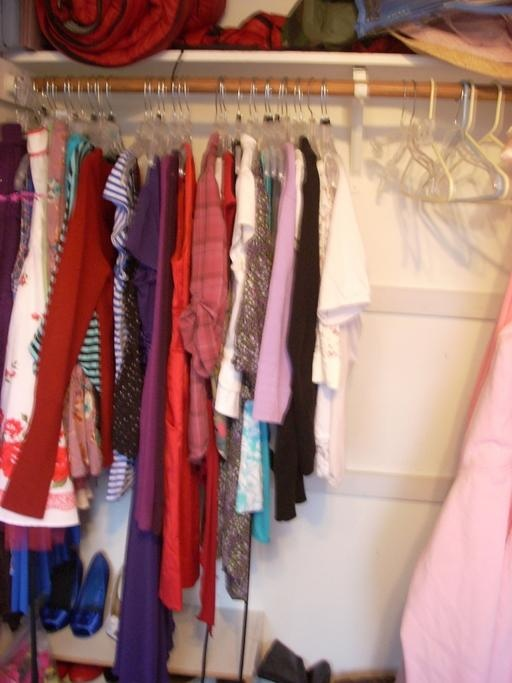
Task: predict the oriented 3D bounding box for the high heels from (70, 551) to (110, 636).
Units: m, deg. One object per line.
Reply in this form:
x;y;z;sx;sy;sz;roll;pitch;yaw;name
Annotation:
-0.427;0.666;1.493;0.044;0.220;0.053;1;-28;3;high heels

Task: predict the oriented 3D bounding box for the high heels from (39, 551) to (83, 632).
-0.508;0.642;1.487;0.067;0.232;0.069;1;-7;6;high heels
